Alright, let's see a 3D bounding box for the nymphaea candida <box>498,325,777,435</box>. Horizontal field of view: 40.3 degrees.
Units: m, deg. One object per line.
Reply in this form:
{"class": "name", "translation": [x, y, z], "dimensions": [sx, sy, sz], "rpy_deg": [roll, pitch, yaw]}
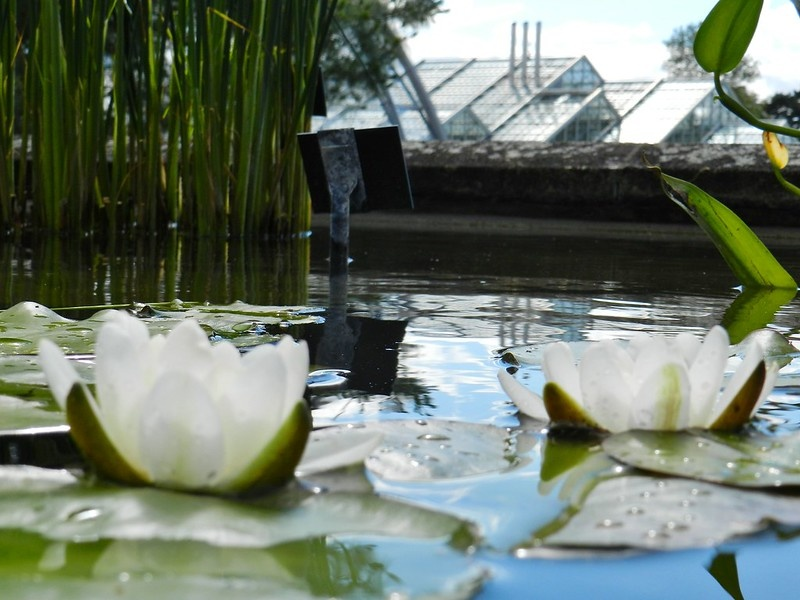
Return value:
{"class": "nymphaea candida", "translation": [0.281, 0.105, 1.291], "dimensions": [0.312, 0.124, 0.325], "rpy_deg": [-6, -3, 24]}

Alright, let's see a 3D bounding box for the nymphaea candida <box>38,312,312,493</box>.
{"class": "nymphaea candida", "translation": [-0.186, 0.120, 1.096], "dimensions": [0.309, 0.154, 0.224], "rpy_deg": [5, 0, 19]}
